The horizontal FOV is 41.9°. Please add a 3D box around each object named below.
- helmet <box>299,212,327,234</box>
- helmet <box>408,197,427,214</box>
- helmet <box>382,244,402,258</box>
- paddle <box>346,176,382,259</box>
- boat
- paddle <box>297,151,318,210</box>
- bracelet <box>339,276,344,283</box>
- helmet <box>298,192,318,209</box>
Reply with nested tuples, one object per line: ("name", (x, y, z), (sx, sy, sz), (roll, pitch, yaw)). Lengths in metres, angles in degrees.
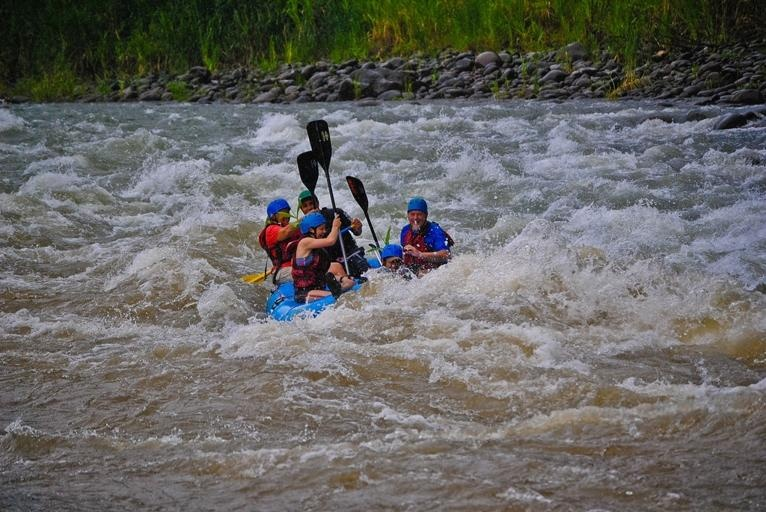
("helmet", (-1.030, -0.485, 14.581), (0.350, 0.269, 0.255), (-35, 5, 14))
("helmet", (0.521, -0.749, 15.000), (0.256, 0.207, 0.260), (2, 5, 6))
("helmet", (0.136, -0.096, 14.728), (0.315, 0.205, 0.315), (3, 32, -1))
("paddle", (-0.321, -0.574, 16.329), (0.237, 1.574, 0.162), (-28, 3, -7))
("boat", (-0.738, 0.562, 14.389), (1.650, 0.326, 0.893), (-19, 17, -25))
("paddle", (-1.160, -1.163, 16.309), (0.396, 0.191, 1.431), (-8, -21, -11))
("bracelet", (-0.603, 0.335, 14.487), (0.061, 0.078, 0.077), (-3, -8, 3))
("helmet", (-1.134, -0.848, 14.946), (0.201, 0.199, 0.272), (-15, -18, -9))
